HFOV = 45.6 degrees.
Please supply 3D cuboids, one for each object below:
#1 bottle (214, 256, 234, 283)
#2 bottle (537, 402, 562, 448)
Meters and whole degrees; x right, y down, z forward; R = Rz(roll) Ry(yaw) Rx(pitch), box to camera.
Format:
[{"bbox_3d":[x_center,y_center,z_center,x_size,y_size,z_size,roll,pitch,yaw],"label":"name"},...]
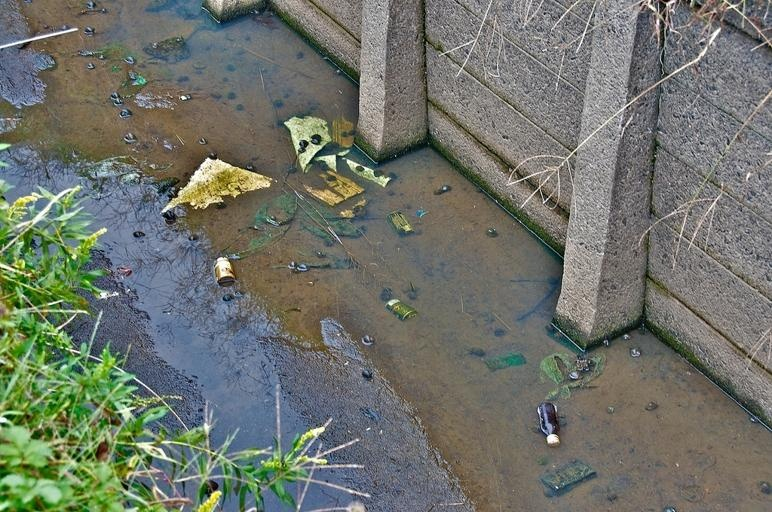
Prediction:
[{"bbox_3d":[-1.853,0.141,10.423,0.240,0.255,0.372,7,38,-18],"label":"bottle"},{"bbox_3d":[1.673,1.734,9.478,0.235,0.168,0.468,1,45,-2],"label":"bottle"}]
